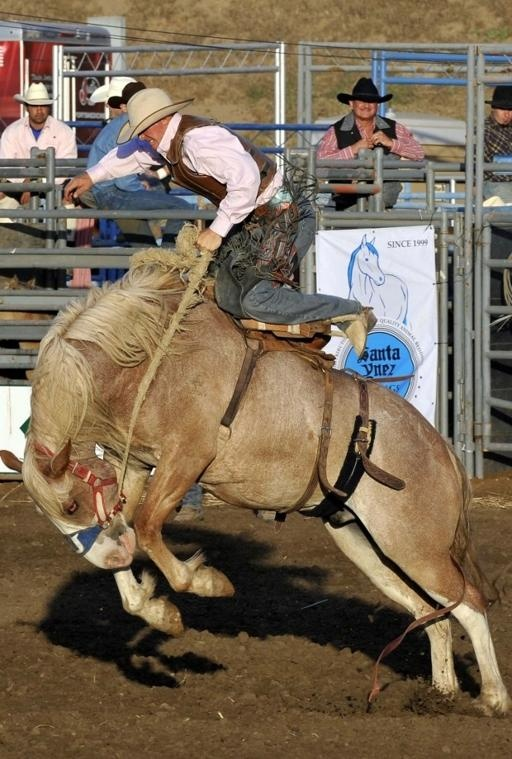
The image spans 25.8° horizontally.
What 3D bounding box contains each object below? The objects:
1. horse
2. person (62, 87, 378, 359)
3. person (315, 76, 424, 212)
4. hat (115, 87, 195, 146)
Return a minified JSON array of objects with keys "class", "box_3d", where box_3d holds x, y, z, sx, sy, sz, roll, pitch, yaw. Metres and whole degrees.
[{"class":"horse","box_3d":[0.005,0.440,4.663,1.933,1.785,0.560,1,10,-6]},{"class":"person","box_3d":[-0.159,-0.685,4.921,1.416,1.114,0.538,5,22,12]},{"class":"person","box_3d":[0.915,-1.853,9.272,0.907,1.136,0.637,-2,24,-5]},{"class":"hat","box_3d":[-0.373,-1.070,4.786,0.310,0.122,0.249,-42,3,-38]}]
